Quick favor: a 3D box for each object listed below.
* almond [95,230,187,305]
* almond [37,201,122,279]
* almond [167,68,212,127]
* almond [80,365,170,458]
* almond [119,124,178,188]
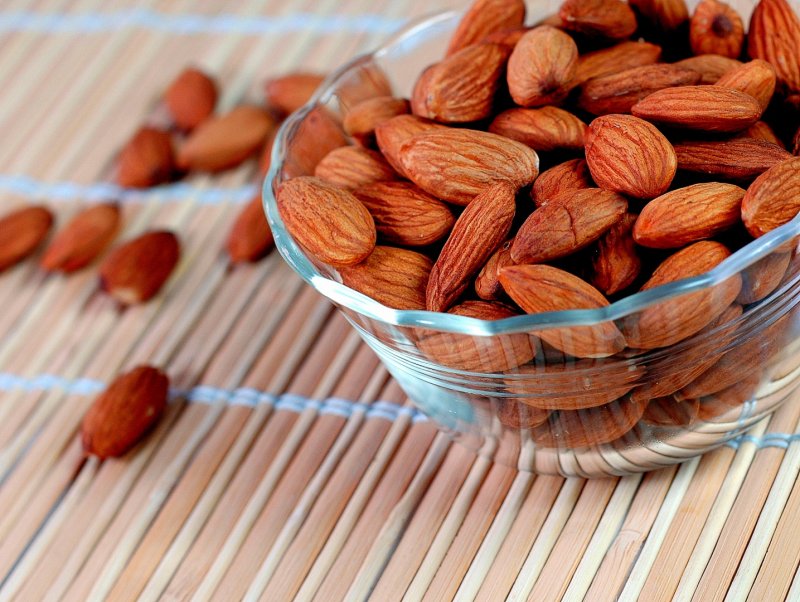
[{"bbox_3d":[-0.322,-0.049,1.039,0.123,0.073,0.040,-12,66,-32],"label":"almond"},{"bbox_3d":[-0.371,-0.075,1.025,0.054,0.035,0.105,42,70,11],"label":"almond"},{"bbox_3d":[-0.268,-0.253,1.123,0.057,0.026,0.085,5,45,4],"label":"almond"},{"bbox_3d":[-0.291,0.128,0.952,0.069,0.033,0.096,31,61,18],"label":"almond"},{"bbox_3d":[-0.300,-0.167,1.081,0.066,0.033,0.078,4,62,50],"label":"almond"}]
